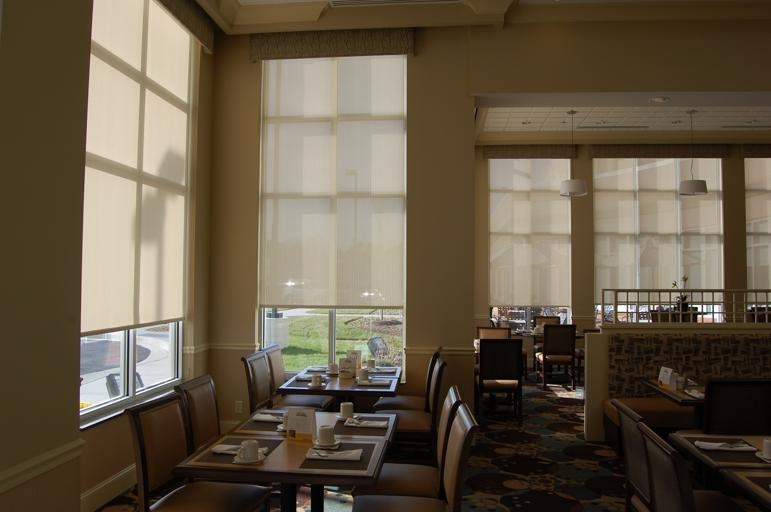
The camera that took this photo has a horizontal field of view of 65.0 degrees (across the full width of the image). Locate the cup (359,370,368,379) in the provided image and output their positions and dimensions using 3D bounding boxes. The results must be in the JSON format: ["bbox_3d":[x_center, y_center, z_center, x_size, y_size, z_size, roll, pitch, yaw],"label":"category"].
[{"bbox_3d":[-0.250,1.290,6.568,0.083,0.080,0.083,0,-5,0],"label":"cup"}]

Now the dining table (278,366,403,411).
[{"bbox_3d":[-0.390,1.386,6.542,0.674,0.410,0.666,0,2,13],"label":"dining table"}]

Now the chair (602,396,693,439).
[{"bbox_3d":[2.791,1.701,6.352,0.982,0.453,0.689,-1,-3,6],"label":"chair"}]

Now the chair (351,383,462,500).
[{"bbox_3d":[0.266,1.614,5.778,0.896,1.565,0.854,2,-6,7],"label":"chair"}]

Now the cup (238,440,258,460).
[{"bbox_3d":[-1.049,1.490,4.664,0.102,0.117,0.163,2,0,11],"label":"cup"}]

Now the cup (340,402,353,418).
[{"bbox_3d":[-0.345,1.370,5.394,0.116,0.111,0.116,0,-2,0],"label":"cup"}]

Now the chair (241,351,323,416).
[{"bbox_3d":[-1.109,1.470,6.844,0.746,1.061,0.751,0,-1,8],"label":"chair"}]

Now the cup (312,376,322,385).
[{"bbox_3d":[-0.734,1.323,6.448,0.091,0.087,0.093,0,-5,0],"label":"cup"}]

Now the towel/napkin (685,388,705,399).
[{"bbox_3d":[3.332,1.467,6.524,0.180,0.039,0.473,1,3,21],"label":"towel/napkin"}]

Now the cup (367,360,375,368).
[{"bbox_3d":[-0.169,1.255,7.035,0.081,0.077,0.079,0,-6,0],"label":"cup"}]

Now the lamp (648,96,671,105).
[{"bbox_3d":[3.490,-1.972,7.675,0.340,0.058,0.235,-3,4,-39],"label":"lamp"}]

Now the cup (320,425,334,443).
[{"bbox_3d":[-0.460,1.420,4.831,0.116,0.111,0.117,-1,-3,0],"label":"cup"}]

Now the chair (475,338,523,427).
[{"bbox_3d":[1.540,1.642,8.265,0.636,1.085,0.893,0,3,10],"label":"chair"}]

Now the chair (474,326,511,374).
[{"bbox_3d":[1.841,1.536,10.300,0.486,0.909,0.515,3,-40,10],"label":"chair"}]
